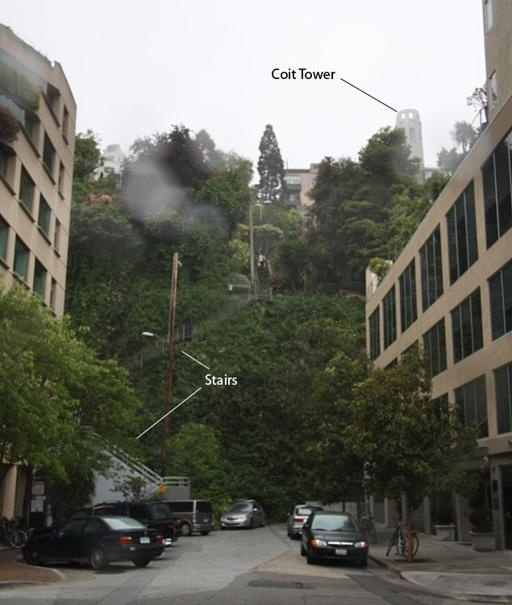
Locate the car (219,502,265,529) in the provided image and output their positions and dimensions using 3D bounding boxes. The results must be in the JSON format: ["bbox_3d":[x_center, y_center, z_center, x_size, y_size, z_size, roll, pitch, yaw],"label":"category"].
[{"bbox_3d":[-0.693,10.206,42.350,1.404,1.646,2.783,-6,-21,18],"label":"car"}]

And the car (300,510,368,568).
[{"bbox_3d":[2.033,6.368,23.367,1.163,1.031,2.842,1,-19,0],"label":"car"}]

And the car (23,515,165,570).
[{"bbox_3d":[-3.978,5.932,21.590,3.082,1.317,1.021,-6,-20,15],"label":"car"}]

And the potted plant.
[{"bbox_3d":[6.556,6.931,27.732,1.134,2.407,2.276,4,-10,-16],"label":"potted plant"}]

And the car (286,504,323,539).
[{"bbox_3d":[1.730,8.261,33.015,1.158,1.217,2.961,1,-10,1],"label":"car"}]

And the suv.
[{"bbox_3d":[-4.014,6.473,26.866,3.017,1.392,1.639,-1,-18,15],"label":"suv"}]
